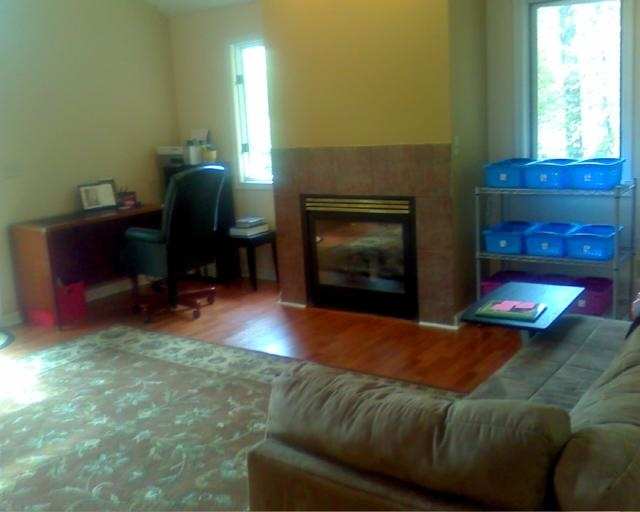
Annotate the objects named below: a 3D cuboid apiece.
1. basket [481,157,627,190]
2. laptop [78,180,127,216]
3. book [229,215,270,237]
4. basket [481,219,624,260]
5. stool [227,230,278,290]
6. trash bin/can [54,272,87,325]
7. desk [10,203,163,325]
[{"bbox_3d":[1.661,-0.587,3.814,0.911,0.205,0.194,4,7,21],"label":"basket"},{"bbox_3d":[-2.146,-0.556,5.123,0.049,0.263,0.360,0,10,44],"label":"laptop"},{"bbox_3d":[-0.759,-0.343,5.398,0.258,0.117,0.264,8,22,37],"label":"book"},{"bbox_3d":[1.763,-0.123,4.047,0.912,0.250,0.413,5,8,33],"label":"basket"},{"bbox_3d":[-0.716,0.042,5.544,0.429,0.648,0.439,8,18,30],"label":"stool"},{"bbox_3d":[-2.229,0.393,4.665,0.211,0.378,0.399,3,12,21],"label":"trash bin/can"},{"bbox_3d":[-2.174,0.075,4.783,0.360,0.605,1.011,7,17,24],"label":"desk"}]
